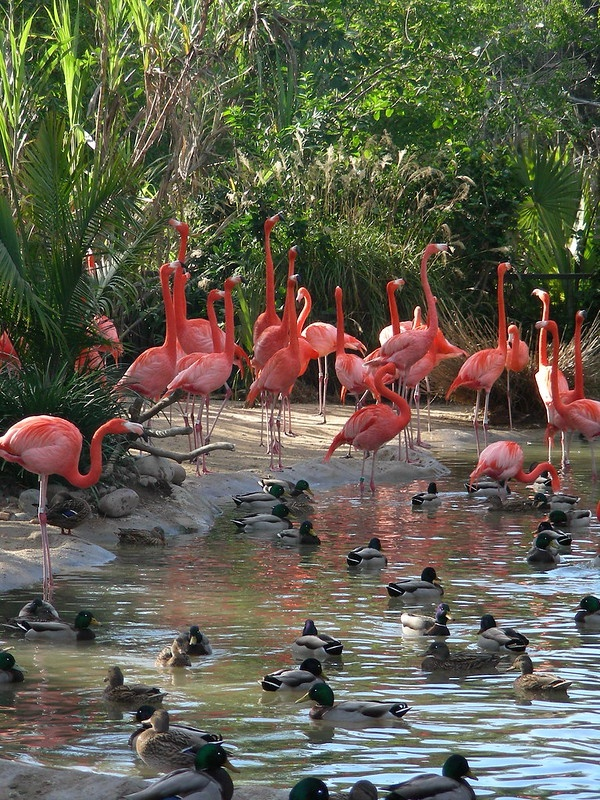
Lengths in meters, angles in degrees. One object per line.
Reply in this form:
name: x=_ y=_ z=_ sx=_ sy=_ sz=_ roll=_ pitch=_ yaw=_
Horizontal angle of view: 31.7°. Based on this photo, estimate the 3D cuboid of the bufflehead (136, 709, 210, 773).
bufflehead: x=-0.465 y=1.342 z=4.165 sx=0.384 sy=0.266 sz=0.195 roll=-3 pitch=-12 yaw=-5

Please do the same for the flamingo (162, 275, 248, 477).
flamingo: x=-1.090 y=-0.266 z=12.824 sx=1.080 sy=2.357 sz=1.025 roll=0 pitch=15 yaw=-13

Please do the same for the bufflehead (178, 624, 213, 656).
bufflehead: x=-0.568 y=1.326 z=5.825 sx=0.134 sy=0.135 sz=0.211 roll=0 pitch=-7 yaw=-1

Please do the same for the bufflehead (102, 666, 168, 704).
bufflehead: x=-0.796 y=1.356 z=5.018 sx=0.303 sy=0.139 sz=0.160 roll=10 pitch=70 yaw=32

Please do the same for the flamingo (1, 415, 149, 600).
flamingo: x=-1.717 y=0.597 z=7.607 sx=1.057 sy=1.245 sz=1.033 roll=-11 pitch=17 yaw=-30

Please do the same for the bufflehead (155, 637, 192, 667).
bufflehead: x=-0.672 y=1.361 z=5.702 sx=0.123 sy=0.126 sz=0.199 roll=6 pitch=-13 yaw=-26
